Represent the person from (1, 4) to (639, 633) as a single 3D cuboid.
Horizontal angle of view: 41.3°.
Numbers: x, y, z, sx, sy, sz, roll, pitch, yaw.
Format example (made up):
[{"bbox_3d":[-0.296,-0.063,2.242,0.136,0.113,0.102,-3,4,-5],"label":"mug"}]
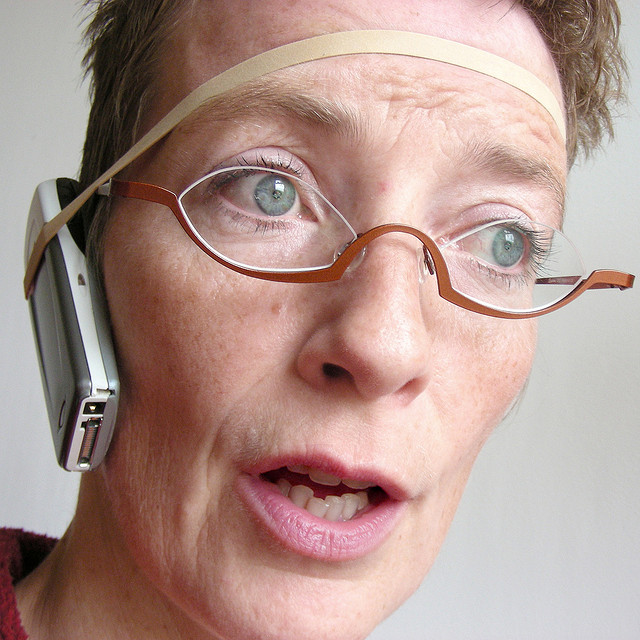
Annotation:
[{"bbox_3d":[-0.031,0.013,1.410,0.986,1.195,0.517,8,4,7],"label":"person"}]
